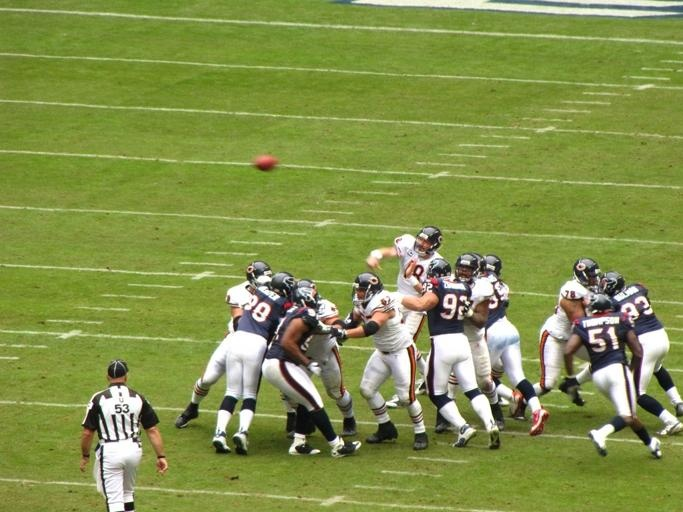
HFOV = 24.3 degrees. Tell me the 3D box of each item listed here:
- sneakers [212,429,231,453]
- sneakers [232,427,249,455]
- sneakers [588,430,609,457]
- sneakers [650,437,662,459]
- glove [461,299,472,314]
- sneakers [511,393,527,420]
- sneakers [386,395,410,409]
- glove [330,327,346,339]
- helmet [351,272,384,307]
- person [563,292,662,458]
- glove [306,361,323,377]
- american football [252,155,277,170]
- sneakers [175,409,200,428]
[{"bbox_3d":[-1.770,2.737,23.415,0.260,0.344,0.298,0,2,-4],"label":"sneakers"},{"bbox_3d":[-1.468,2.712,23.280,0.166,0.412,0.201,4,48,30],"label":"sneakers"},{"bbox_3d":[3.677,2.710,23.013,0.245,0.386,0.295,0,2,5],"label":"sneakers"},{"bbox_3d":[4.618,2.850,23.314,0.146,0.159,0.401,-4,-23,19],"label":"sneakers"},{"bbox_3d":[1.854,0.791,23.928,0.109,0.231,0.346,1,2,16],"label":"glove"},{"bbox_3d":[2.712,2.330,24.636,0.182,0.469,0.209,-5,41,-3],"label":"sneakers"},{"bbox_3d":[0.946,2.295,24.940,0.527,0.204,0.173,1,6,16],"label":"sneakers"},{"bbox_3d":[-0.051,1.136,23.339,0.228,0.191,0.200,0,2,-3],"label":"glove"},{"bbox_3d":[0.311,0.493,23.732,0.560,0.426,0.428,-10,5,-8],"label":"helmet"},{"bbox_3d":[4.056,1.768,23.474,1.384,2.355,1.166,0,2,-7],"label":"person"},{"bbox_3d":[-0.416,1.668,23.732,0.208,0.210,0.530,0,1,-1],"label":"glove"},{"bbox_3d":[-1.653,-1.948,33.175,0.377,0.201,0.369,7,-6,-42],"label":"american football"},{"bbox_3d":[-2.347,2.440,24.197,0.158,0.161,0.425,36,36,19],"label":"sneakers"}]
